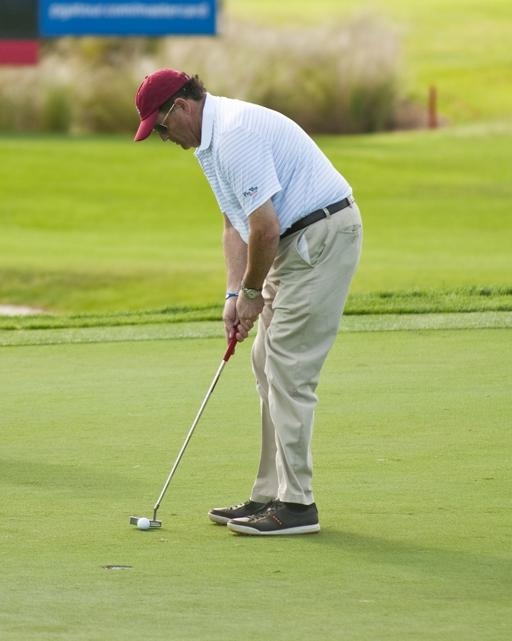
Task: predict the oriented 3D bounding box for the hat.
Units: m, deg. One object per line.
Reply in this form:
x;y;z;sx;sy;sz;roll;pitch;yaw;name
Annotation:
-0.288;-0.688;4.241;0.149;0.248;0.157;32;9;-16;hat

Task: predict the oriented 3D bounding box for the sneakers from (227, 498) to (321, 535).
0.075;0.622;4.259;0.308;0.123;0.110;2;-16;-3;sneakers

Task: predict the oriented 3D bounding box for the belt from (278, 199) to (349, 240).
0.203;-0.325;4.248;0.145;0.037;0.132;-35;-7;16;belt

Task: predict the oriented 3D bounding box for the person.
-0.004;-0.064;4.320;0.589;1.429;0.467;5;11;23;person

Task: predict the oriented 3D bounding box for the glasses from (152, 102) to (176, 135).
-0.256;-0.629;4.228;0.023;0.082;0.078;27;-12;-10;glasses

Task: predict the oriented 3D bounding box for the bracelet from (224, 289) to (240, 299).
-0.070;-0.090;4.537;0.033;0.026;0.029;14;13;7;bracelet

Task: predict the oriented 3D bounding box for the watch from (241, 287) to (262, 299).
-0.003;-0.087;4.257;0.034;0.023;0.044;5;2;41;watch

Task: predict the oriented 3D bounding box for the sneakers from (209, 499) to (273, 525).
-0.032;0.602;4.362;0.218;0.088;0.078;-2;1;-35;sneakers
